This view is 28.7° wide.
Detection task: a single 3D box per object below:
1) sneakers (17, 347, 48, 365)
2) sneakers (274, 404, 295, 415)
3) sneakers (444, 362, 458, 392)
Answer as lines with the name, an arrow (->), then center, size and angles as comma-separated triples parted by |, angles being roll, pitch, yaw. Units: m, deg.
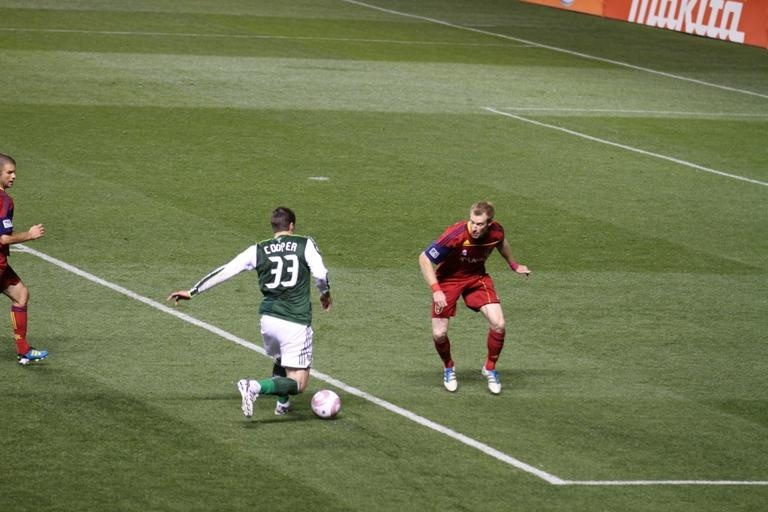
sneakers -> -4.954, 1.389, 21.388 | 0.546, 0.215, 0.168 | -10, 21, -6
sneakers -> -1.384, 2.086, 20.813 | 0.133, 0.104, 0.269 | 6, 11, 14
sneakers -> 0.948, 1.732, 21.465 | 0.169, 0.159, 0.418 | -4, 18, -5
